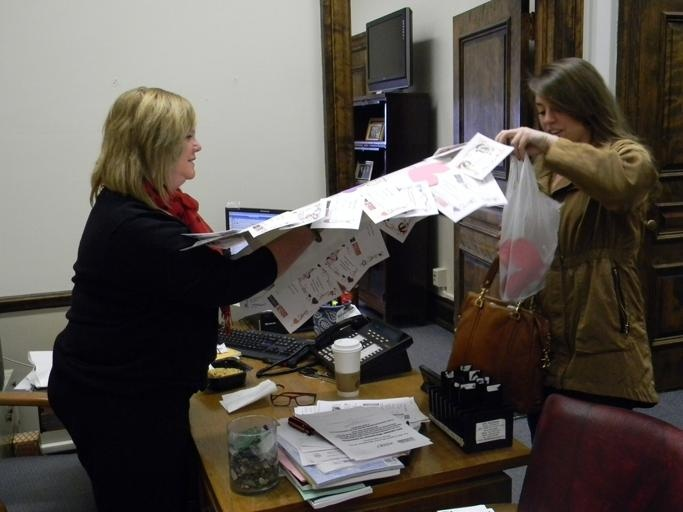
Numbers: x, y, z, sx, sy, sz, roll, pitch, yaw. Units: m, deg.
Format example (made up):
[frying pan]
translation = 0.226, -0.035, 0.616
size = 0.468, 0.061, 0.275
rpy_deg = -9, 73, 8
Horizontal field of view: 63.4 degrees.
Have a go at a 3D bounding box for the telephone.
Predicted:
[telephone]
translation = 0.062, 0.330, 2.015
size = 0.275, 0.153, 0.356
rpy_deg = -6, 8, -25

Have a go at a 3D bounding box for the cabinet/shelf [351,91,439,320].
[cabinet/shelf]
translation = 0.475, -0.434, 5.063
size = 0.639, 2.018, 0.743
rpy_deg = -9, 9, -17

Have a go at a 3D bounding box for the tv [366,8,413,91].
[tv]
translation = 0.422, -1.760, 4.773
size = 0.110, 0.788, 0.840
rpy_deg = -3, 4, -25

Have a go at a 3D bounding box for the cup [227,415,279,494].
[cup]
translation = -0.220, 0.502, 1.410
size = 0.137, 0.165, 0.141
rpy_deg = -4, -3, 0

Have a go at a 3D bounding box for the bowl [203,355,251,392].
[bowl]
translation = -0.393, 0.390, 1.972
size = 0.152, 0.064, 0.186
rpy_deg = 16, -13, 8

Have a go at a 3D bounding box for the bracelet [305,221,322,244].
[bracelet]
translation = -0.074, -0.063, 1.555
size = 0.046, 0.047, 0.030
rpy_deg = -21, 18, -11

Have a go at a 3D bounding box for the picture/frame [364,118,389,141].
[picture/frame]
translation = 0.311, -1.157, 5.127
size = 0.062, 0.257, 0.250
rpy_deg = 14, -6, -39

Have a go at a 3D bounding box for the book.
[book]
translation = 0.017, 0.509, 1.449
size = 0.226, 0.057, 0.230
rpy_deg = -7, 22, -19
